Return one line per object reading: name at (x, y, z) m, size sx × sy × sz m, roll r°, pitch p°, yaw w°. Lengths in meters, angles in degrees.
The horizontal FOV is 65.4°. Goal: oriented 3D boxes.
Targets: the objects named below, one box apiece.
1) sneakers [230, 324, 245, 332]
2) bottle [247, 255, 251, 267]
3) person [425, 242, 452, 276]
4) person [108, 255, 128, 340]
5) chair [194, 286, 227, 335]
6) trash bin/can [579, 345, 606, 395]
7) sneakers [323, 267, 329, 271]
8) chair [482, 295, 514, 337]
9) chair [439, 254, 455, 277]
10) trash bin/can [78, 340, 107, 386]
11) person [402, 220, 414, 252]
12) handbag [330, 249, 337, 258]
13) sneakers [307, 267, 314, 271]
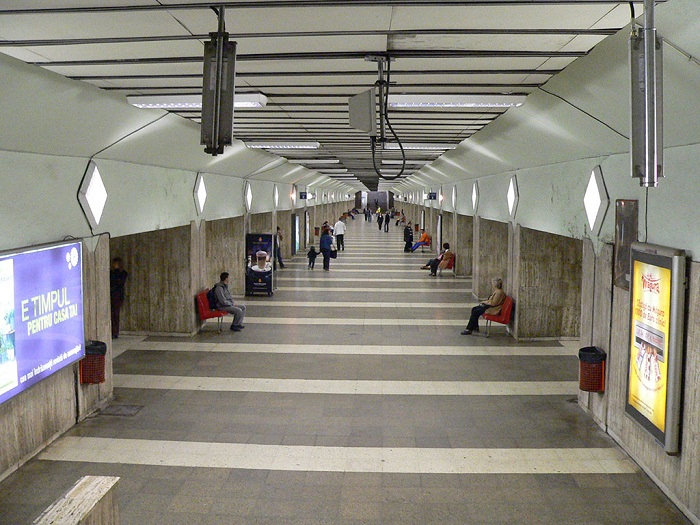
sneakers at (-2.613, 1.523, 12.687) m, size 0.330 × 0.258 × 0.115 m, roll -1°, pitch -1°, yaw 7°
bottle at (-3.025, -0.074, 16.439) m, size 0.167 × 0.317 × 0.022 m, roll 1°, pitch 9°, yaw 7°
person at (3.419, -0.169, 20.514) m, size 0.882 × 1.273 × 1.105 m, roll 2°, pitch 9°, yaw 10°
person at (-5.134, 0.763, 12.171) m, size 0.360 × 1.762 × 0.483 m, roll -4°, pitch 9°, yaw -22°
chair at (-3.166, 1.125, 13.111) m, size 0.767 × 1.328 × 0.932 m, roll 1°, pitch 4°, yaw 0°
trash bin/can at (3.519, 1.597, 7.957) m, size 0.353 × 0.693 × 0.307 m, roll -1°, pitch 9°, yaw -4°
sneakers at (-0.885, 0.192, 21.714) m, size 0.219 × 0.191 × 0.446 m, roll 0°, pitch 10°, yaw -3°
chair at (3.477, 1.202, 12.632) m, size 0.774 × 1.127 × 0.790 m, roll 0°, pitch 1°, yaw 0°
chair at (3.696, -0.014, 20.555) m, size 0.673 × 0.979 × 0.697 m, roll 2°, pitch 1°, yaw 6°
trash bin/can at (-3.959, 1.653, 8.246) m, size 0.433 × 0.435 × 0.590 m, roll 15°, pitch 37°, yaw -40°
person at (3.108, -1.276, 28.477) m, size 0.420 × 1.328 × 0.850 m, roll 2°, pitch 9°, yaw 12°
handbag at (-0.709, -0.427, 24.250) m, size 0.358 × 0.384 × 0.151 m, roll 0°, pitch -14°, yaw 1°
sneakers at (-1.587, 0.216, 22.118) m, size 0.276 × 0.210 × 0.095 m, roll 1°, pitch 4°, yaw 31°
